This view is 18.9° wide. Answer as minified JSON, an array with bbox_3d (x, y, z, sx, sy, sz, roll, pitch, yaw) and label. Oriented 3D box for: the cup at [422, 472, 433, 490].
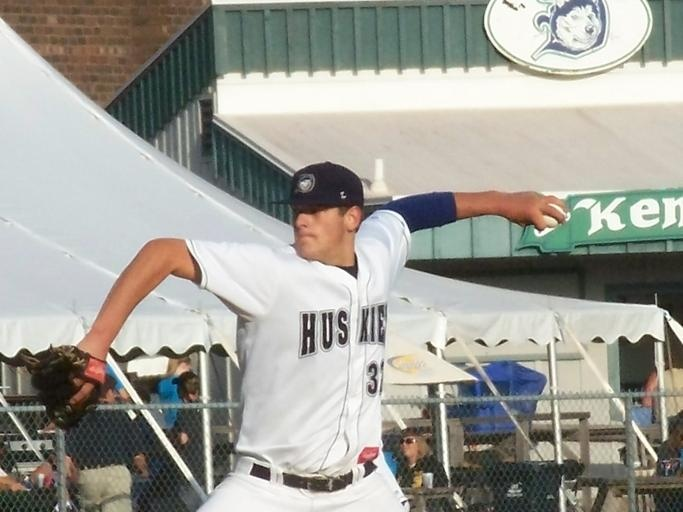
[{"bbox_3d":[1.114,2.791,25.806,0.137,0.166,0.139,1,-11,0],"label":"cup"}]
